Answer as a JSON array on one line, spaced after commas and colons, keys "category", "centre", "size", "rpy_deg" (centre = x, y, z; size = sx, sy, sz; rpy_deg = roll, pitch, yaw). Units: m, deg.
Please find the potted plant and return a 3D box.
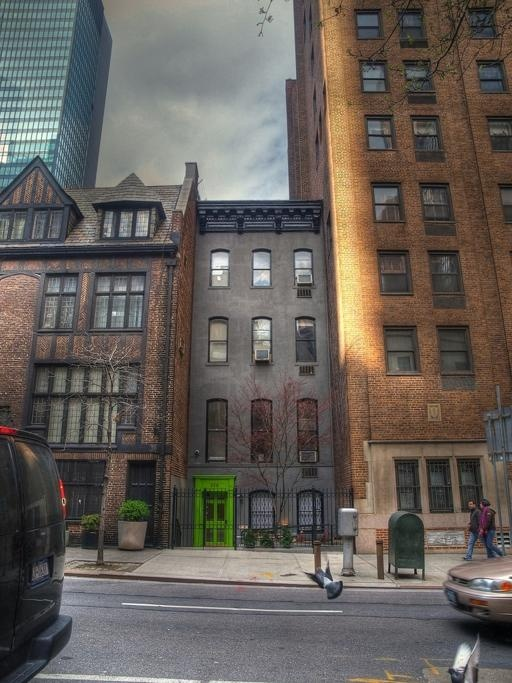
[{"category": "potted plant", "centre": [-4.736, 6.323, 16.952], "size": [2.242, 1.663, 2.044], "rpy_deg": [0, -14, 2]}]
